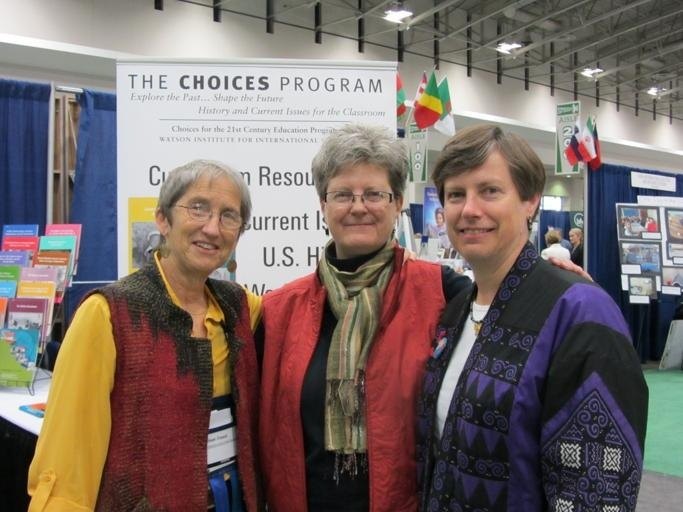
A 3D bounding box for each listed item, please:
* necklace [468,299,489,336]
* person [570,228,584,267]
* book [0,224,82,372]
[{"bbox_3d":[0.477,0.221,2.043,0.065,0.099,0.024,-13,-43,36],"label":"necklace"},{"bbox_3d":[3.792,-0.209,9.293,0.244,0.893,0.221,3,-23,20],"label":"person"},{"bbox_3d":[-1.849,0.333,3.841,0.638,1.050,0.227,5,-5,12],"label":"book"}]
